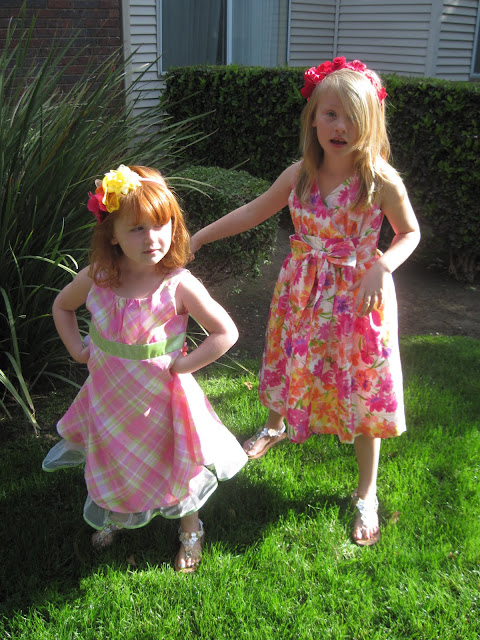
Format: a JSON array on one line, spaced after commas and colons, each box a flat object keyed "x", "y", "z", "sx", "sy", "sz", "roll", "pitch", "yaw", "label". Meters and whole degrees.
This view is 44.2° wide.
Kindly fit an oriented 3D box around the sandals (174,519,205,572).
[{"x": -0.151, "y": 0.683, "z": 1.814, "sx": 0.062, "sy": 0.070, "sz": 0.173, "roll": 1, "pitch": 24, "yaw": 2, "label": "sandals"}]

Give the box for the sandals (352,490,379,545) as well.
[{"x": 0.411, "y": 0.645, "z": 1.941, "sx": 0.064, "sy": 0.068, "sz": 0.175, "roll": -2, "pitch": 35, "yaw": 9, "label": "sandals"}]

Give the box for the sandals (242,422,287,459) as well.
[{"x": 0.102, "y": 0.483, "z": 2.419, "sx": 0.189, "sy": 0.069, "sz": 0.096, "roll": -33, "pitch": 44, "yaw": -18, "label": "sandals"}]

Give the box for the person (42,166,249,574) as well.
[{"x": -0.289, "y": 0.155, "z": 1.727, "sx": 0.639, "sy": 1.182, "sz": 0.290, "roll": 4, "pitch": 12, "yaw": 2, "label": "person"}]
